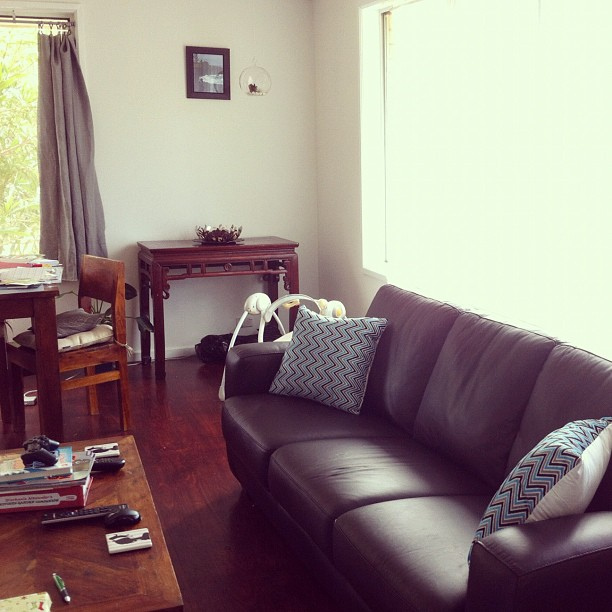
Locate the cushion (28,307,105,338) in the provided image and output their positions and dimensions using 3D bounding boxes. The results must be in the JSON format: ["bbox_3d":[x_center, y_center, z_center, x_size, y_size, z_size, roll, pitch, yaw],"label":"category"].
[{"bbox_3d":[-1.262,0.088,2.992,0.219,0.075,0.229,-24,21,-7],"label":"cushion"}]

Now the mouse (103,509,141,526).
[{"bbox_3d":[-0.473,0.536,1.399,0.066,0.025,0.041,1,4,-15],"label":"mouse"}]

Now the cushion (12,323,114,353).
[{"bbox_3d":[-1.282,0.168,2.890,0.498,0.122,0.307,-5,9,-24],"label":"cushion"}]

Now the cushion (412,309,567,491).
[{"bbox_3d":[0.531,0.268,1.852,0.484,0.471,0.258,16,31,30],"label":"cushion"}]
